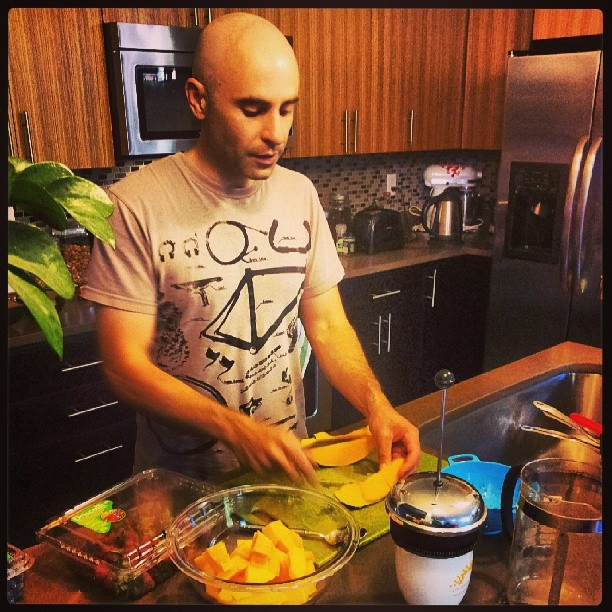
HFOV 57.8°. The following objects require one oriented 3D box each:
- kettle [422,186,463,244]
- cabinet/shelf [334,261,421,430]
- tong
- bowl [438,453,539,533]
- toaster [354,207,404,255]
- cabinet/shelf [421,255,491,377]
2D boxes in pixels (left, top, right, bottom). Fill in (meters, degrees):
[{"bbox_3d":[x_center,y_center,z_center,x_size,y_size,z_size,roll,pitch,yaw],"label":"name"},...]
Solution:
[{"bbox_3d":[0.686,-0.440,2.671,0.230,0.247,0.131,-9,16,-24],"label":"kettle"},{"bbox_3d":[0.426,0.185,2.638,0.317,0.550,0.326,-10,7,-36],"label":"cabinet/shelf"},{"bbox_3d":[0.432,0.211,0.959,0.237,0.078,0.064,22,-19,-34],"label":"tong"},{"bbox_3d":[0.252,0.226,0.728,0.072,0.046,0.114,-4,26,-8],"label":"bowl"},{"bbox_3d":[0.346,-0.352,2.542,0.255,0.243,0.147,-5,13,-23],"label":"toaster"},{"bbox_3d":[0.715,0.080,2.662,0.312,0.637,0.189,1,14,8],"label":"cabinet/shelf"}]
